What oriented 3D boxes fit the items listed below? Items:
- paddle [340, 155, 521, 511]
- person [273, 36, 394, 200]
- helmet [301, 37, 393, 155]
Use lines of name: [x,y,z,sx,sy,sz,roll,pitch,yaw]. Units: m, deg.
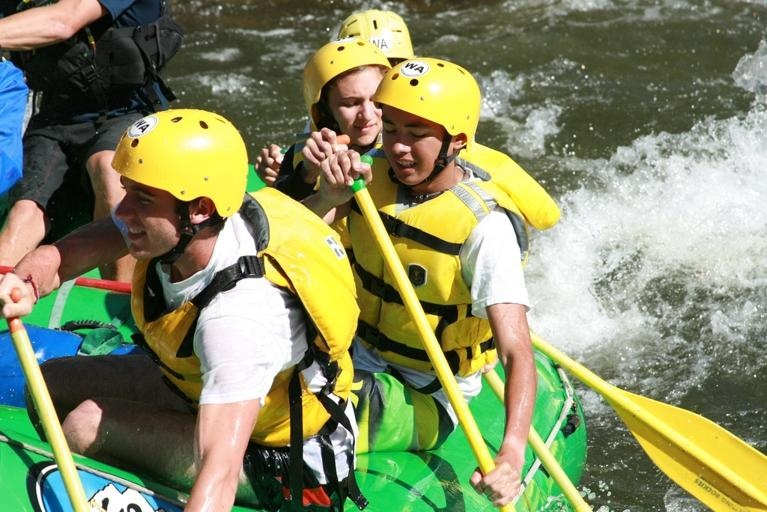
paddle: [0.264,0.438,5.471,0.263,2.229,0.263,-27,4,25]
person: [-0.362,-0.911,6.046,0.806,1.022,0.515,13,19,42]
helmet: [-0.266,-1.026,6.157,0.445,0.564,0.537,-11,47,-16]
